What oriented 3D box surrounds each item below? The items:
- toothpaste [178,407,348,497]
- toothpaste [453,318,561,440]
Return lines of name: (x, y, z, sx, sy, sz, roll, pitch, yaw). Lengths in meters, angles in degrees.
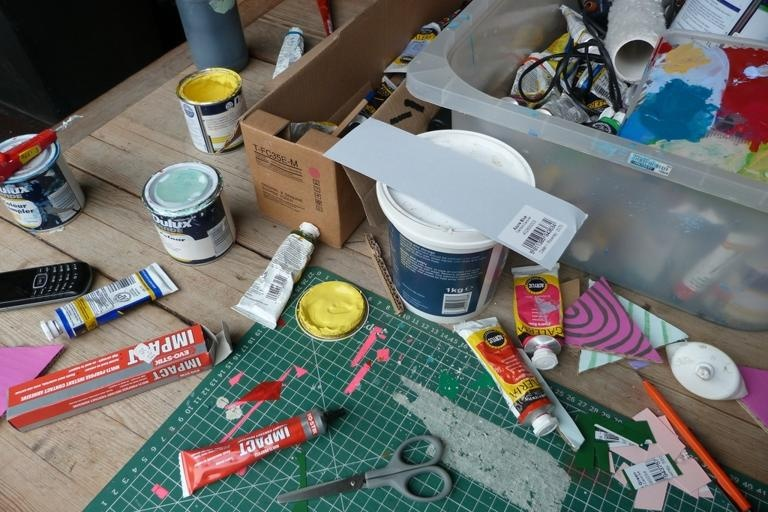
toothpaste: (-0.205, 0.317, 0.968, 0.291, 0.034, 0.067, -18, 60, -8)
toothpaste: (0.226, 0.204, 1.014, 0.076, 0.044, 0.240, -25, 63, -19)
